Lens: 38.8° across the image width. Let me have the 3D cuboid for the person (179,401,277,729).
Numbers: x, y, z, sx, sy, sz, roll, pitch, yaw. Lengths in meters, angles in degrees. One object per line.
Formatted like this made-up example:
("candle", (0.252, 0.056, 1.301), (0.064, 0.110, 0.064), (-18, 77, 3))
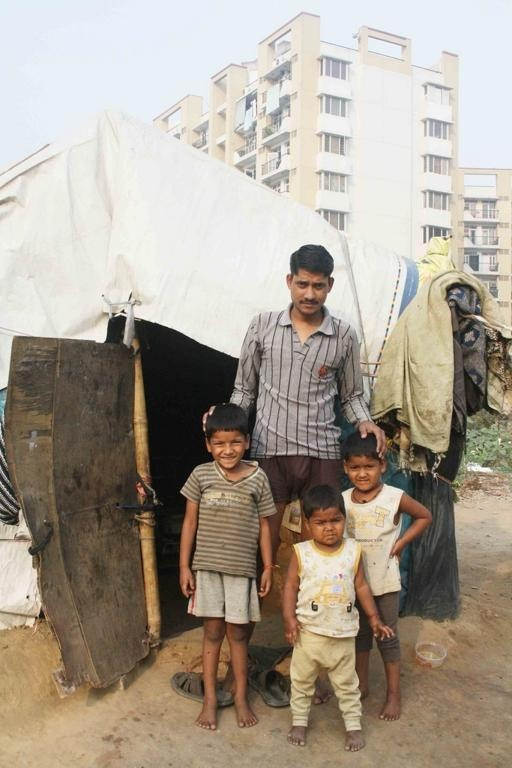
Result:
("person", (-0.126, 0.785, 3.189), (0.410, 1.394, 0.296), (2, 1, -3))

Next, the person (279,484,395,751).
("person", (0.334, 0.964, 3.035), (0.444, 0.771, 0.247), (2, 1, 1))
